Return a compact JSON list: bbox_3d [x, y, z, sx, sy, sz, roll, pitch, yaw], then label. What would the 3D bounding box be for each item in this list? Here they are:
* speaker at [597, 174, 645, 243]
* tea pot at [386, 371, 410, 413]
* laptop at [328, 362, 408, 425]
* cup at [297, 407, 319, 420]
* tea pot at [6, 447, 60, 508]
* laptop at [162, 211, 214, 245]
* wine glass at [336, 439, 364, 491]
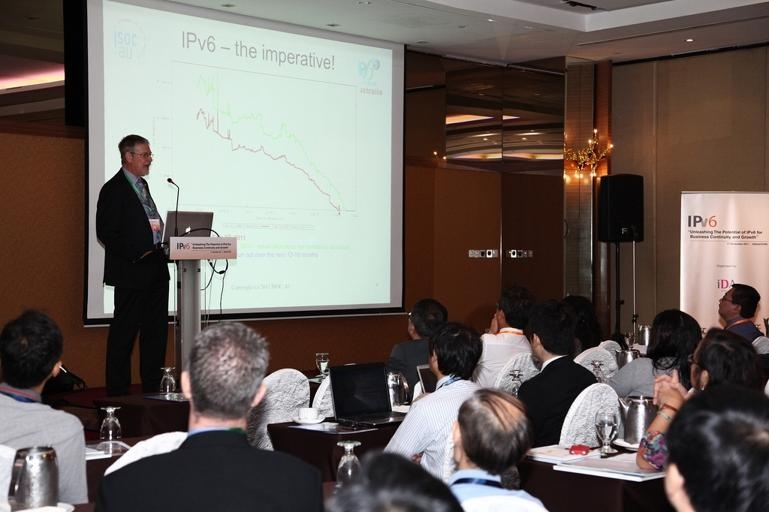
[{"bbox_3d":[3.521,-0.708,8.894,0.602,1.030,0.279,1,1,15],"label":"speaker"},{"bbox_3d":[0.055,0.899,3.900,0.129,0.210,0.219,0,-2,-2],"label":"tea pot"},{"bbox_3d":[-0.138,0.839,3.659,0.424,0.287,0.327,1,-2,-38],"label":"laptop"},{"bbox_3d":[-0.460,0.932,3.546,0.082,0.059,0.084,-1,-5,0],"label":"cup"},{"bbox_3d":[-1.189,0.746,2.016,0.147,0.218,0.102,0,1,-31],"label":"tea pot"},{"bbox_3d":[-1.594,-0.250,4.802,0.372,0.256,0.263,-2,13,-41],"label":"laptop"},{"bbox_3d":[-0.153,0.842,2.453,0.092,0.164,0.295,0,1,-4],"label":"wine glass"}]
